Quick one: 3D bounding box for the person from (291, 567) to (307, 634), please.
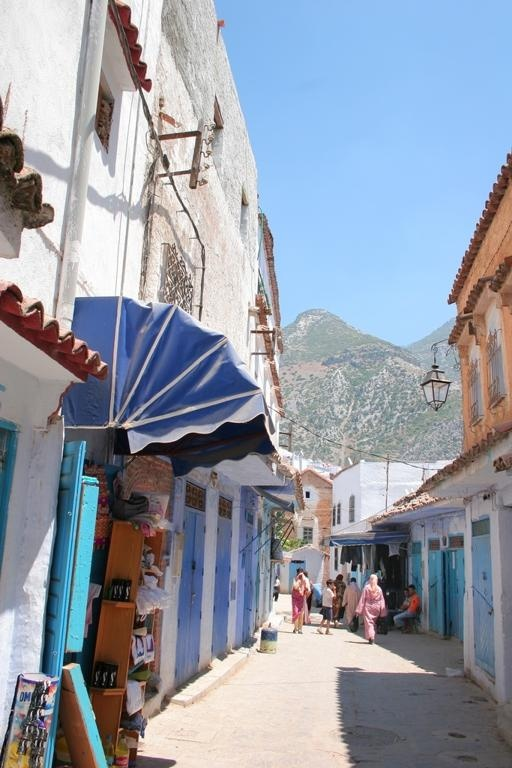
[{"bbox_3d":[1.560,7.706,18.990,0.503,2.047,1.359,-1,-16,5],"label":"person"}]

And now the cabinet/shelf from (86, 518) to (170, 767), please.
[{"bbox_3d":[-1.064,2.181,4.760,0.532,1.859,1.972,0,-16,0],"label":"cabinet/shelf"}]
